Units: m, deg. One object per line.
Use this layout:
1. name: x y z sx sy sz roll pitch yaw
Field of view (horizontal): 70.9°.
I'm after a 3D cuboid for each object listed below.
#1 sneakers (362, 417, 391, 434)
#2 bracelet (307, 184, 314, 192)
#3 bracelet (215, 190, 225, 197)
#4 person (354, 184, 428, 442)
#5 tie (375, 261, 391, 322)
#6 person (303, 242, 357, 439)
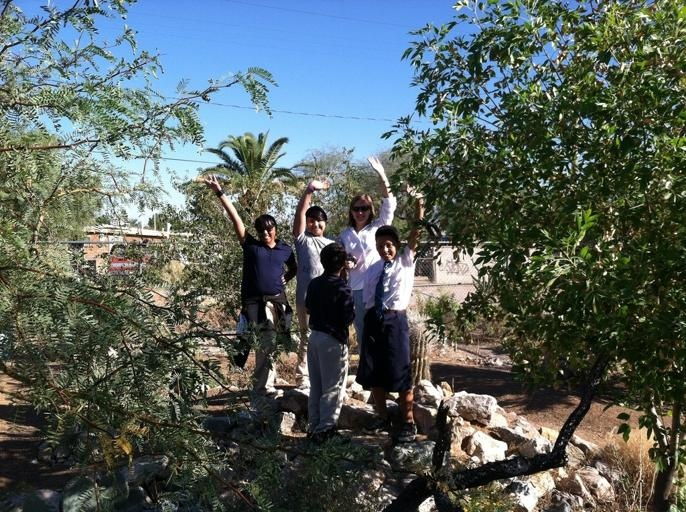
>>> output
1. sneakers: 0.357 1.796 5.123 0.307 0.151 0.126 3 -3 -17
2. bracelet: -0.349 -0.728 5.192 0.063 0.067 0.068 -6 -26 24
3. bracelet: -1.302 -0.654 5.084 0.085 0.062 0.080 -11 -9 44
4. person: 0.476 0.665 4.713 0.624 2.238 1.107 5 1 10
5. tie: 0.372 0.340 4.668 0.121 0.528 0.055 5 2 22
6. person: -0.189 0.812 4.673 0.471 1.617 0.392 5 2 19
